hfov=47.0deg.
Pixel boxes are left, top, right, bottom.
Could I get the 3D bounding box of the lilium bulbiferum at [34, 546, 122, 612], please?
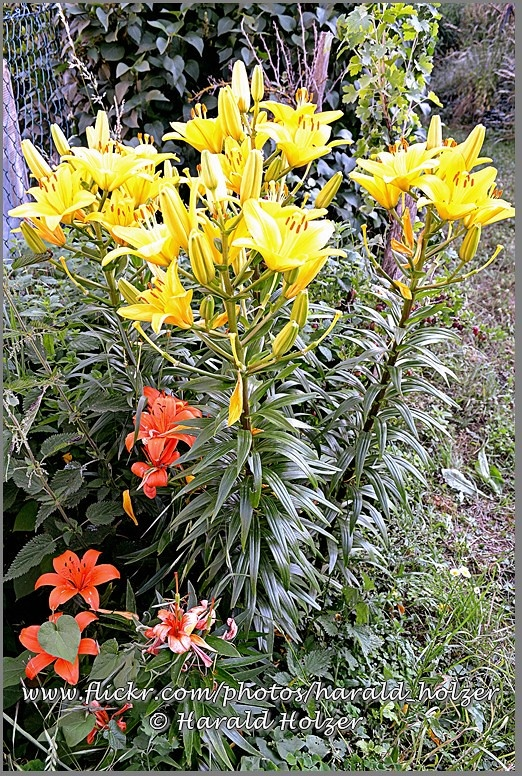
[{"bbox_3d":[-0.424,0.444,1.393,0.178,0.072,0.136,5,34,-11],"label":"lilium bulbiferum"}]
